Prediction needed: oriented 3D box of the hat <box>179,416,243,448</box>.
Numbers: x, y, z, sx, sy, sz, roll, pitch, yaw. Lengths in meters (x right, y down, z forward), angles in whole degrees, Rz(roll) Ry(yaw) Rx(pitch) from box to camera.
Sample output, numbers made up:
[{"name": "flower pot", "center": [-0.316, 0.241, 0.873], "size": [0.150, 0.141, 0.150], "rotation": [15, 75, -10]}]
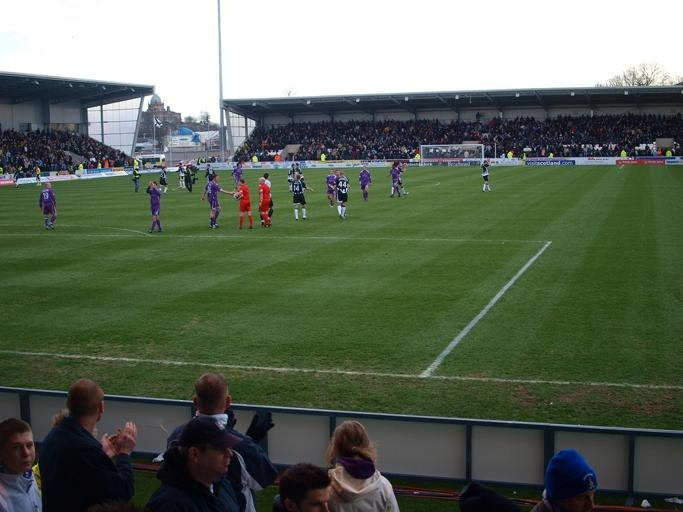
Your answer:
[{"name": "hat", "center": [-1.013, 1.322, 5.672], "size": [0.356, 0.164, 0.232], "rotation": [4, 1, -5]}]

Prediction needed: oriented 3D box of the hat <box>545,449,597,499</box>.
[{"name": "hat", "center": [1.677, 1.606, 5.627], "size": [0.369, 0.285, 0.365], "rotation": [-12, -10, -21]}]

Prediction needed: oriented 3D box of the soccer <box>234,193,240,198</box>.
[{"name": "soccer", "center": [-3.197, -1.798, 22.999], "size": [0.216, 0.140, 0.249], "rotation": [3, 20, 7]}]
